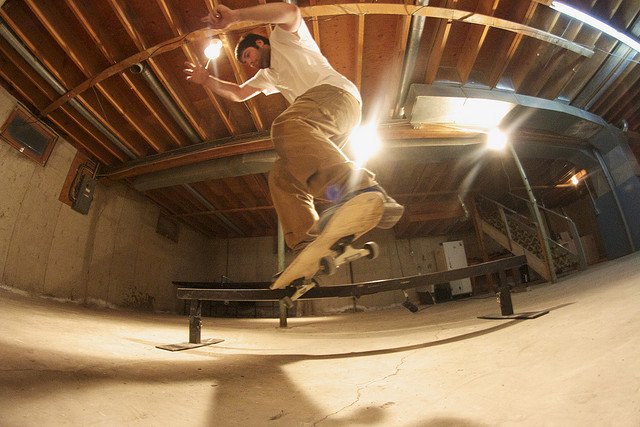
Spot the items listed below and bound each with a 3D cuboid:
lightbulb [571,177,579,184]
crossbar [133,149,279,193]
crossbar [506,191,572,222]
[{"bbox_3d":[9.143,-1.174,12.170,0.286,0.231,0.174,-6,4,-41],"label":"lightbulb"},{"bbox_3d":[-2.763,-1.035,8.079,3.708,0.488,0.384,-2,3,16],"label":"crossbar"},{"bbox_3d":[8.053,-0.265,12.510,0.410,0.109,2.717,-10,23,-15],"label":"crossbar"}]
